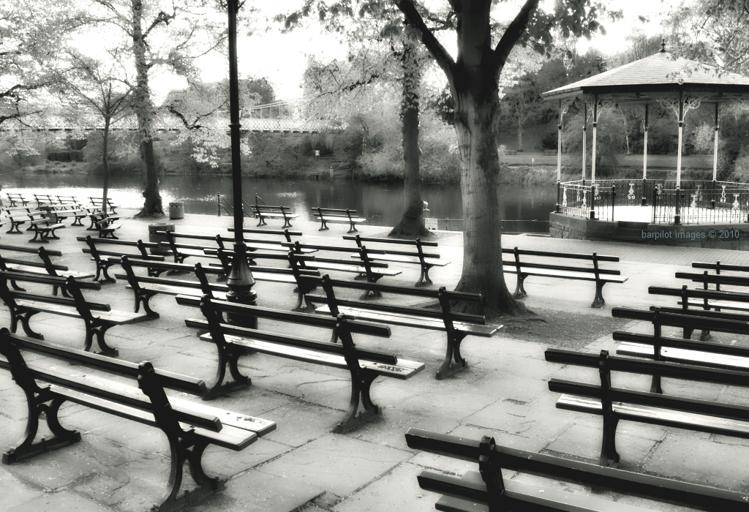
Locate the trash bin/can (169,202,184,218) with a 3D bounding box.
[{"bbox_3d":[-7.498,-1.742,26.785,0.621,0.627,0.592,-2,9,-20],"label":"trash bin/can"}]
